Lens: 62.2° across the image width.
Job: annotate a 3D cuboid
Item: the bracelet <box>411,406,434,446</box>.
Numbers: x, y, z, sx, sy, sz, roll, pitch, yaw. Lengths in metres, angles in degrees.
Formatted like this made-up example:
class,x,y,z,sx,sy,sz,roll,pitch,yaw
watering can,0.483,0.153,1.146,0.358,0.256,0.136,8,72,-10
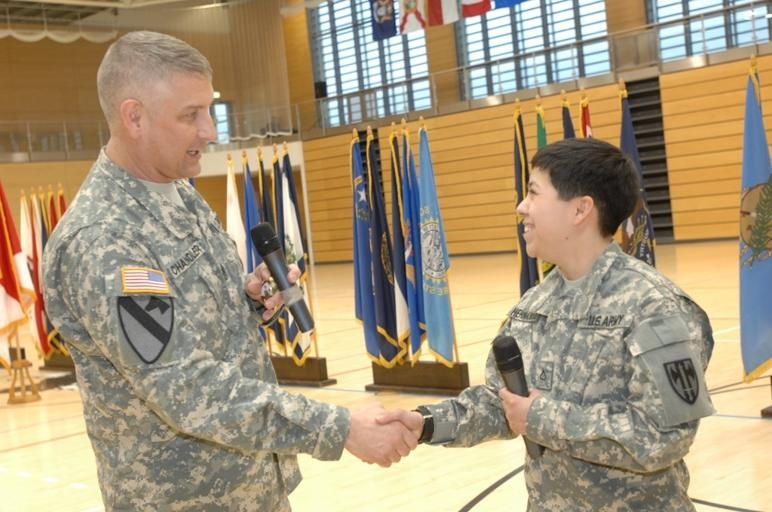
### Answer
class,x,y,z,sx,sy,sz,roll,pitch,yaw
bracelet,0.152,0.719,2.687,0.068,0.129,0.097,-3,0,-29
